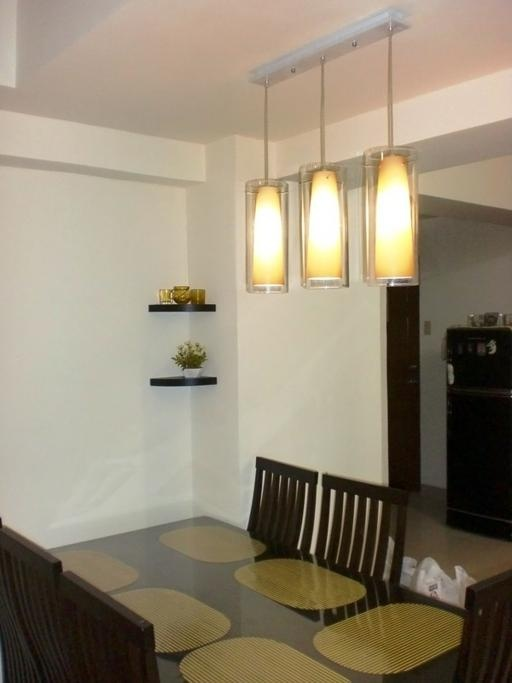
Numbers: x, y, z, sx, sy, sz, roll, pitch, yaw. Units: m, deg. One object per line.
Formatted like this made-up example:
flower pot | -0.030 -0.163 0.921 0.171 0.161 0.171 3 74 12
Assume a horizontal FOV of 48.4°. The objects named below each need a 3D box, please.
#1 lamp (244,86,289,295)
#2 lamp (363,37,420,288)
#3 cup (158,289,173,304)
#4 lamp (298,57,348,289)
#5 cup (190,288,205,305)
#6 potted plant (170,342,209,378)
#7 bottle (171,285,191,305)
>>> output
lamp | 0.029 -0.280 1.542 0.127 0.300 0.101 -3 -4 6
lamp | 0.295 -0.277 1.270 0.131 0.308 0.117 -4 -4 16
cup | -0.562 -0.278 3.542 0.086 0.081 0.085 3 9 0
lamp | 0.168 -0.282 1.412 0.125 0.304 0.111 -3 -4 5
cup | -0.357 -0.273 3.554 0.093 0.097 0.093 0 5 0
potted plant | -0.408 0.123 3.668 0.216 0.219 0.212 3 -3 9
bottle | -0.466 -0.283 3.538 0.126 0.113 0.082 -3 -4 1
